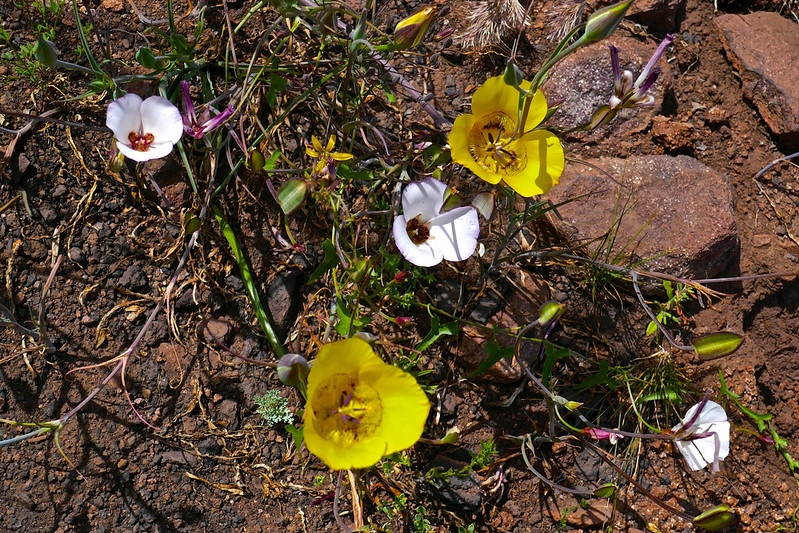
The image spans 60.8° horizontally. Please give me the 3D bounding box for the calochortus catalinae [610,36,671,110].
[{"bbox_3d":[1.021,-0.833,3.019,0.188,0.303,0.266,-13,42,-7],"label":"calochortus catalinae"}]

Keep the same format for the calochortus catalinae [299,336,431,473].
[{"bbox_3d":[-0.168,0.622,2.922,0.537,0.258,0.501,32,77,4],"label":"calochortus catalinae"}]

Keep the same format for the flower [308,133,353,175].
[{"bbox_3d":[-0.336,-0.538,3.188,0.175,0.254,0.097,4,75,-28],"label":"flower"}]

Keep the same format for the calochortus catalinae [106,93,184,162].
[{"bbox_3d":[-1.272,-0.671,3.271,0.403,0.407,0.193,-3,75,-48],"label":"calochortus catalinae"}]

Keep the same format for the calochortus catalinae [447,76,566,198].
[{"bbox_3d":[0.491,-0.571,3.370,0.557,0.195,0.541,44,81,-3],"label":"calochortus catalinae"}]

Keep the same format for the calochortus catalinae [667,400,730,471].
[{"bbox_3d":[1.463,0.821,3.378,0.139,0.311,0.313,41,106,36],"label":"calochortus catalinae"}]
